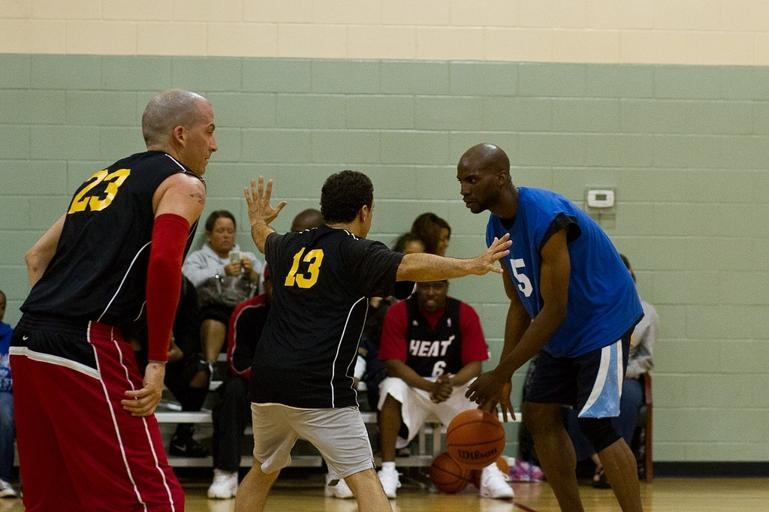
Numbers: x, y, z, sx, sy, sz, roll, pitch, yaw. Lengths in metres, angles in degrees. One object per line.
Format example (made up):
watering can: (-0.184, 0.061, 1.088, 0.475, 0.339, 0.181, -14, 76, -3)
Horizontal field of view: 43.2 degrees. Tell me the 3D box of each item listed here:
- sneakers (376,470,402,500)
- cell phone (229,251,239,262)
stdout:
sneakers: (0.049, 1.953, 8.283, 0.185, 0.183, 0.418, 4, -9, -3)
cell phone: (-1.363, 0.002, 8.844, 0.087, 0.168, 0.088, -1, 0, 2)
